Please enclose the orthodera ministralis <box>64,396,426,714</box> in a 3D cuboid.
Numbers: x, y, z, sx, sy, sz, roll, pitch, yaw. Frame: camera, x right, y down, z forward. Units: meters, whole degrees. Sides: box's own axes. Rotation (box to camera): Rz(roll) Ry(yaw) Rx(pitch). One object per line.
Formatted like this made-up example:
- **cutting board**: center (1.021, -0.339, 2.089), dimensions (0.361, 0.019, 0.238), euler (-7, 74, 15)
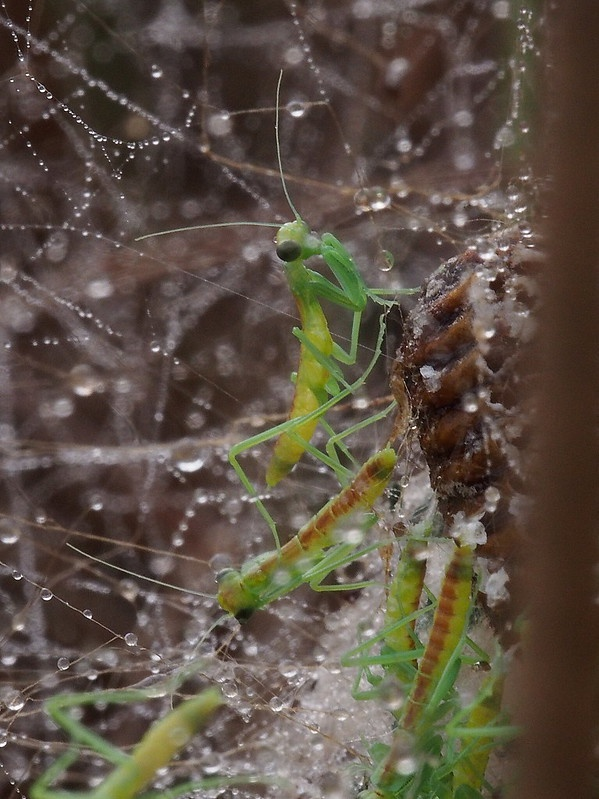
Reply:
- **orthodera ministralis**: center (0.011, 0.104, 0.733), dimensions (0.174, 0.089, 0.248), euler (-18, 22, 47)
